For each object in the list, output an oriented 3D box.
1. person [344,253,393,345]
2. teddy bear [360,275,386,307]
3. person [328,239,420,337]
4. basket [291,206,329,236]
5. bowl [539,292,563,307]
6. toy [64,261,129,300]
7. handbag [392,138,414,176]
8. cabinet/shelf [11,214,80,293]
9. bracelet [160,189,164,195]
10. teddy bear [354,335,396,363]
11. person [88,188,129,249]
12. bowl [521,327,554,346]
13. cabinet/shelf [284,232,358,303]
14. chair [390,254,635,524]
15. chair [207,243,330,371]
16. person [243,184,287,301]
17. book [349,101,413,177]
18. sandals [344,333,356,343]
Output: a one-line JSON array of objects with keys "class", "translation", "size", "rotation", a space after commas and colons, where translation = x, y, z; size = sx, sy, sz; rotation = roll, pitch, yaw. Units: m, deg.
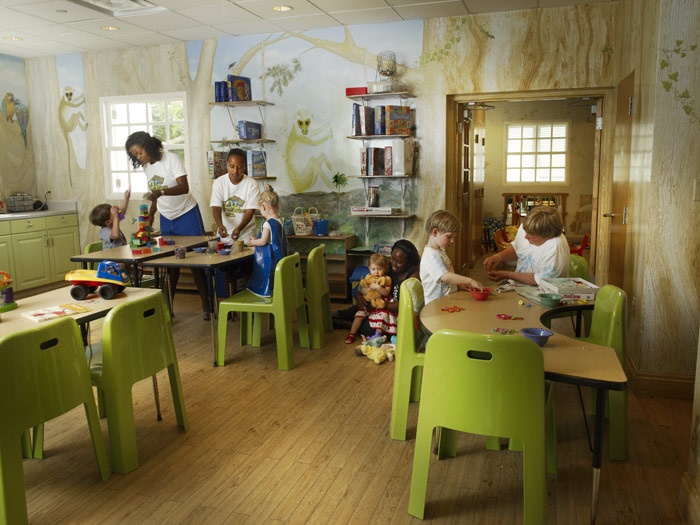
[{"class": "person", "translation": [0.187, 0.310, 4.757], "size": [0.443, 0.765, 0.423], "rotation": [-6, 13, -29]}, {"class": "teddy bear", "translation": [0.203, 0.242, 4.771], "size": [0.266, 0.269, 0.107], "rotation": [9, 17, 36]}, {"class": "person", "translation": [0.111, 0.203, 5.157], "size": [0.889, 1.104, 0.731], "rotation": [0, 8, -6]}, {"class": "basket", "translation": [-0.469, -0.517, 6.310], "size": [0.412, 0.293, 0.387], "rotation": [-2, 14, -3]}, {"class": "bowl", "translation": [1.158, 0.207, 3.104], "size": [0.081, 0.039, 0.083], "rotation": [1, 8, 0]}, {"class": "toy", "translation": [-1.587, 0.103, 3.362], "size": [0.305, 0.223, 0.247], "rotation": [4, 6, -2]}, {"class": "handbag", "translation": [0.575, -1.176, 5.861], "size": [0.128, 0.376, 0.371], "rotation": [2, 9, 16]}, {"class": "cabinet/shelf", "translation": [-3.722, -0.126, 6.446], "size": [0.337, 0.830, 0.851], "rotation": [1, 11, 12]}, {"class": "bracelet", "translation": [-1.936, -0.745, 5.501], "size": [0.035, 0.015, 0.049], "rotation": [1, 39, -3]}, {"class": "teddy bear", "translation": [0.236, 0.719, 4.491], "size": [0.220, 0.098, 0.233], "rotation": [2, 10, 15]}, {"class": "person", "translation": [-2.726, -0.551, 6.080], "size": [0.298, 0.892, 0.414], "rotation": [-8, 37, -13]}, {"class": "bowl", "translation": [0.905, 0.342, 2.584], "size": [0.103, 0.044, 0.105], "rotation": [0, 4, 0]}, {"class": "cabinet/shelf", "translation": [-0.251, 0.038, 5.412], "size": [0.726, 0.733, 0.251], "rotation": [1, 5, 16]}, {"class": "chair", "translation": [1.046, 0.336, 2.799], "size": [1.352, 0.751, 1.011], "rotation": [8, 17, 40]}, {"class": "chair", "translation": [-0.610, 0.016, 4.666], "size": [0.797, 1.157, 1.561], "rotation": [3, 8, 14]}, {"class": "person", "translation": [-0.698, -0.175, 4.401], "size": [0.343, 0.821, 0.570], "rotation": [-3, 14, -7]}, {"class": "book", "translation": [0.421, -1.374, 6.319], "size": [0.756, 1.149, 0.771], "rotation": [2, 3, 19]}, {"class": "sandals", "translation": [0.000, 0.679, 4.864], "size": [0.083, 0.063, 0.224], "rotation": [0, -1, 6]}]
